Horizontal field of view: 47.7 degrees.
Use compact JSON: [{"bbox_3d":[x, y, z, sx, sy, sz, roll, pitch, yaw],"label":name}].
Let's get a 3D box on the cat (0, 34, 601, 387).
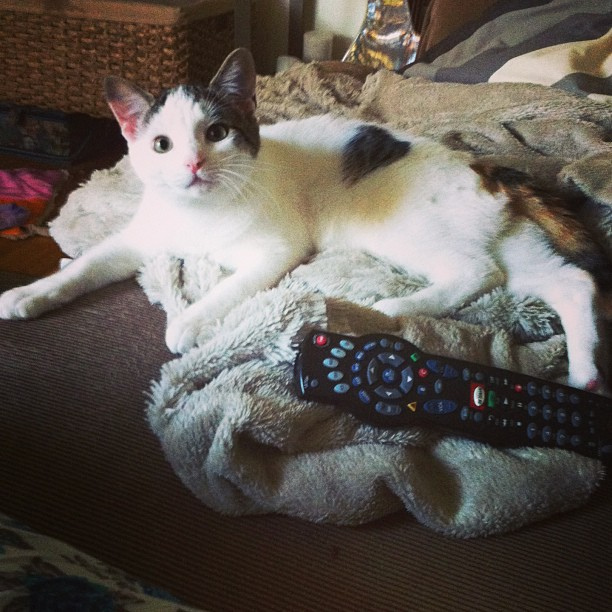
[{"bbox_3d":[0.027,-0.077,0.576,0.481,0.127,0.276,10,53,6],"label":"cat"}]
